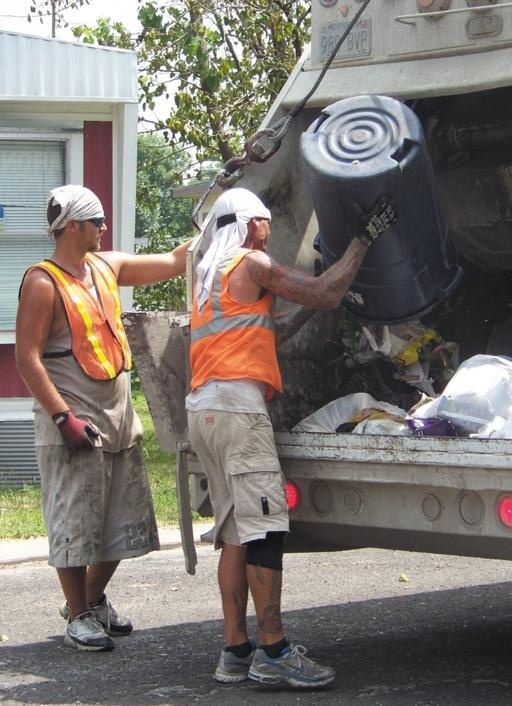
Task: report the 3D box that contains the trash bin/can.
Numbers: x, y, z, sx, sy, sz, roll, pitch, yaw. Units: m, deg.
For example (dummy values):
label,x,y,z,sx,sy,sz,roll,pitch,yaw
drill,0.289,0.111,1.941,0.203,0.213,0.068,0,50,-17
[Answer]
label,x,y,z,sx,sy,sz,roll,pitch,yaw
trash bin/can,0.435,-0.537,3.685,0.606,0.683,0.592,-9,46,22

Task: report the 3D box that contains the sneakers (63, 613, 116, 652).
label,x,y,z,sx,sy,sz,roll,pitch,yaw
sneakers,-0.631,1.051,3.838,0.224,0.106,0.097,-3,-6,43

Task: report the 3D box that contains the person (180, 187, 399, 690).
label,x,y,z,sx,sy,sz,roll,pitch,yaw
person,0.050,0.248,3.426,0.432,1.691,0.626,1,-1,-41

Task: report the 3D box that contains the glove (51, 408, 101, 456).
label,x,y,z,sx,sy,sz,roll,pitch,yaw
glove,-0.651,0.283,3.703,0.051,0.165,0.134,-5,33,49

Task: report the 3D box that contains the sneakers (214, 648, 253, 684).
label,x,y,z,sx,sy,sz,roll,pitch,yaw
sneakers,-0.076,1.037,3.379,0.067,0.080,0.174,6,4,33

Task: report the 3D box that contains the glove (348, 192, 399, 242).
label,x,y,z,sx,sy,sz,roll,pitch,yaw
glove,0.395,-0.436,3.341,0.176,0.132,0.067,-17,23,-35
